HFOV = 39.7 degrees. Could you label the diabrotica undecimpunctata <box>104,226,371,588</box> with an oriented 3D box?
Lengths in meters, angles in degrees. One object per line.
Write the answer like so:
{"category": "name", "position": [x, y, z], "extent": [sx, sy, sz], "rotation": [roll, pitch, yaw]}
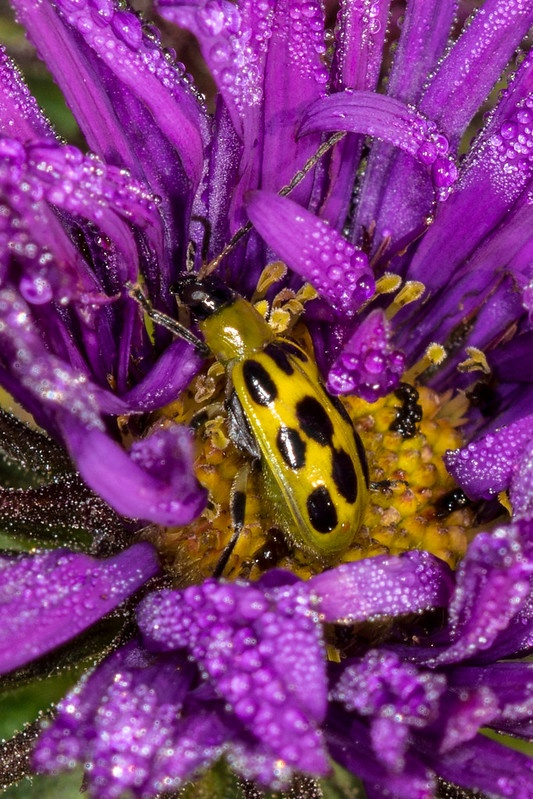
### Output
{"category": "diabrotica undecimpunctata", "position": [-0.084, 0.022, 0.848], "extent": [0.113, 0.277, 0.351], "rotation": [-27, 79, 18]}
